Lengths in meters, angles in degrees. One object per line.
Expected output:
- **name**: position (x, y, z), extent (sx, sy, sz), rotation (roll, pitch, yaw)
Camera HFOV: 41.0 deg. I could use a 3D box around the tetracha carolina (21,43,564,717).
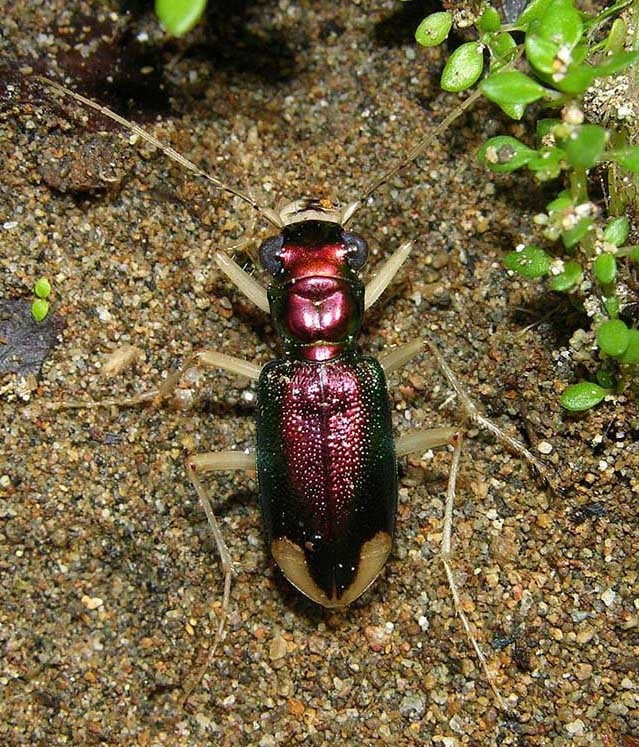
- **tetracha carolina**: position (0.008, -0.028, 3.221), extent (2.075, 0.591, 2.290), rotation (-9, 71, -5)
